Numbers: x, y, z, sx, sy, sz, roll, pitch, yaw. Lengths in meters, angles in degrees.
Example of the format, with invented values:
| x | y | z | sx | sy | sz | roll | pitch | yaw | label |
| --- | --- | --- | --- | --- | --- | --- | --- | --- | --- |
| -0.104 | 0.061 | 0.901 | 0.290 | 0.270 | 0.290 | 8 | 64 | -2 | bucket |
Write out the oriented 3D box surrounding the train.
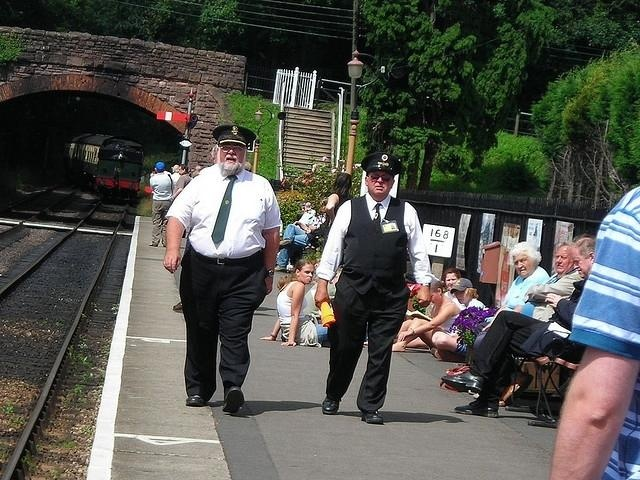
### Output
| x | y | z | sx | sy | sz | roll | pitch | yaw | label |
| --- | --- | --- | --- | --- | --- | --- | --- | --- | --- |
| -17.689 | -6.358 | 48.523 | 3.518 | 4.272 | 12.268 | 5 | 8 | -35 | train |

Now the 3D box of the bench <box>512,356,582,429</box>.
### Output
| x | y | z | sx | sy | sz | roll | pitch | yaw | label |
| --- | --- | --- | --- | --- | --- | --- | --- | --- | --- |
| 2.451 | 1.517 | 6.441 | 0.620 | 0.811 | 0.828 | 1 | -14 | 32 | bench |

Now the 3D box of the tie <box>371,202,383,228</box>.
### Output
| x | y | z | sx | sy | sz | roll | pitch | yaw | label |
| --- | --- | --- | --- | --- | --- | --- | --- | --- | --- |
| 0.556 | -0.242 | 5.782 | 0.054 | 0.238 | 0.032 | 3 | -23 | 7 | tie |

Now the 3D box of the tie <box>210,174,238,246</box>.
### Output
| x | y | z | sx | sy | sz | roll | pitch | yaw | label |
| --- | --- | --- | --- | --- | --- | --- | --- | --- | --- |
| -0.918 | -0.287 | 5.708 | 0.169 | 0.586 | 0.206 | -1 | 9 | -23 | tie |
